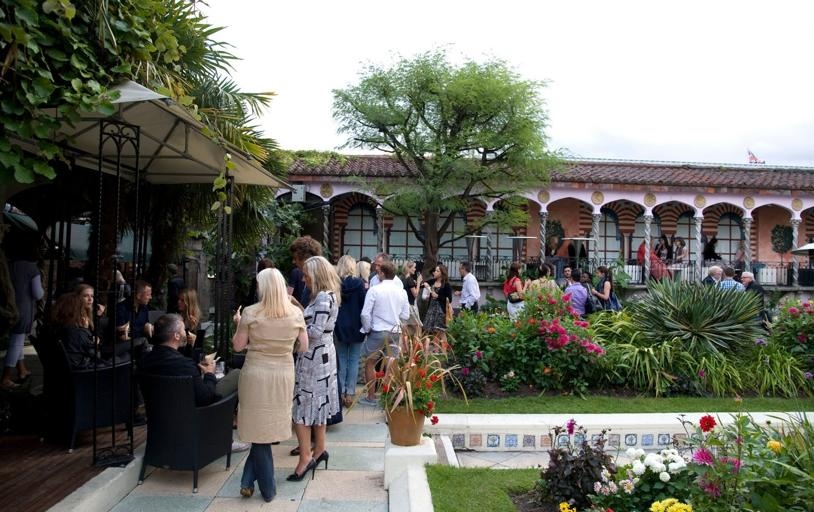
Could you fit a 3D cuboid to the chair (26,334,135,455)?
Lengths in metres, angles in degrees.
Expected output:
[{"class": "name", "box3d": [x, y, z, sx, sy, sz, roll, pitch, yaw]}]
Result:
[{"class": "chair", "box3d": [-4.161, 1.723, 8.681, 1.093, 1.214, 1.058, 3, -5, -31]}]

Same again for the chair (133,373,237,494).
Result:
[{"class": "chair", "box3d": [-2.653, 2.085, 8.282, 1.077, 1.288, 1.047, 0, -1, 1]}]

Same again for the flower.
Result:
[{"class": "flower", "box3d": [-0.027, 1.630, 8.923, 1.500, 1.094, 1.278, 35, 19, 30]}]

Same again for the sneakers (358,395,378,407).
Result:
[{"class": "sneakers", "box3d": [-0.614, 2.322, 10.686, 0.304, 0.121, 0.144, 7, 7, 28]}]
